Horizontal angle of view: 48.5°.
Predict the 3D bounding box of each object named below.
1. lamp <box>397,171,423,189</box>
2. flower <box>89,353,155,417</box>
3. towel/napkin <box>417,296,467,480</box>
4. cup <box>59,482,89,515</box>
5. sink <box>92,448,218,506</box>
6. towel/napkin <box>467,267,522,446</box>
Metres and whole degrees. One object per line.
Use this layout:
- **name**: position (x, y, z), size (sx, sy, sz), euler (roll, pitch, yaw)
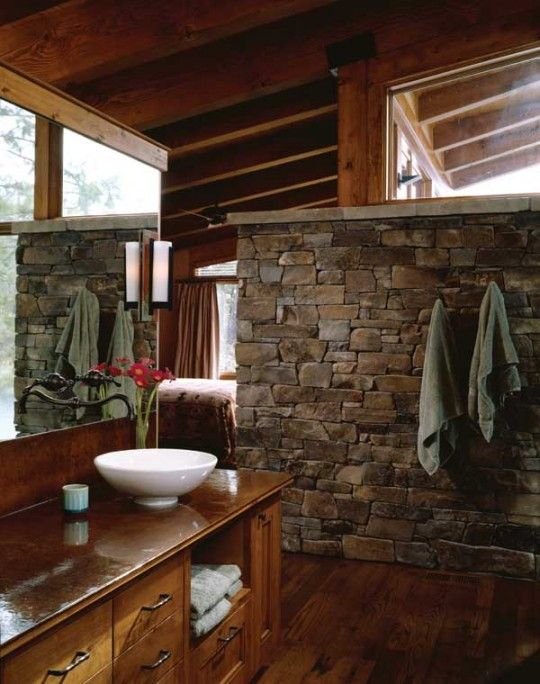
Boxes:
- **lamp**: position (0.832, -0.987, 3.628), size (0.118, 0.064, 0.097), euler (2, 5, 12)
- **flower**: position (-0.533, 0.158, 2.323), size (0.239, 0.240, 0.239), euler (1, 4, -43)
- **towel/napkin**: position (0.888, 0.257, 3.150), size (0.238, 0.925, 0.360), euler (0, 0, 14)
- **cup**: position (-0.563, 0.462, 1.773), size (0.088, 0.075, 0.081), euler (4, -3, 0)
- **sink**: position (-0.362, 0.434, 1.911), size (0.370, 0.170, 0.486), euler (0, 0, -7)
- **towel/napkin**: position (1.134, 0.110, 3.047), size (0.260, 0.799, 0.370), euler (0, 0, 21)
